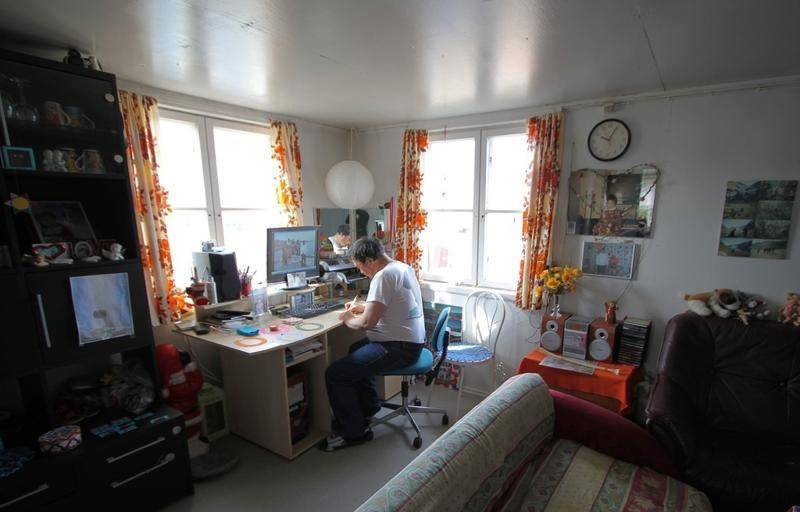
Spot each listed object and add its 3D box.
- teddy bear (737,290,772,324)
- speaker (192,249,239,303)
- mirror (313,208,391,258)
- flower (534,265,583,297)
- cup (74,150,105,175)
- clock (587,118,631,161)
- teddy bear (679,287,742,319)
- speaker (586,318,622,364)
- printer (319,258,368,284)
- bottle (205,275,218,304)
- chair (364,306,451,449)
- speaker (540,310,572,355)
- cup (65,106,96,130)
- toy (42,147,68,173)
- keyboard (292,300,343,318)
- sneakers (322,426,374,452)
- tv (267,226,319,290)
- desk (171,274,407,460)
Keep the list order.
[{"bbox_3d":[2.781,0.405,4.011,0.214,0.232,0.082,8,-12,8],"label":"teddy bear"},{"bbox_3d":[-1.584,0.171,4.325,0.430,0.389,0.201,4,11,21],"label":"speaker"},{"bbox_3d":[-0.507,-0.287,5.414,0.792,0.511,0.015,-6,28,-14],"label":"mirror"},{"bbox_3d":[1.391,0.199,4.544,0.304,0.205,0.293,-6,6,-37],"label":"flower"},{"bbox_3d":[-2.230,-0.688,3.662,0.134,0.191,0.204,10,10,39],"label":"cup"},{"bbox_3d":[1.832,-1.016,4.428,0.384,0.365,0.063,-6,0,35],"label":"clock"},{"bbox_3d":[2.520,0.382,4.088,0.321,0.189,0.214,-9,-9,41],"label":"teddy bear"},{"bbox_3d":[1.771,0.733,4.435,0.203,0.319,0.303,6,9,28],"label":"speaker"},{"bbox_3d":[-0.595,0.105,5.067,0.305,0.115,0.311,5,7,28],"label":"printer"},{"bbox_3d":[-1.597,0.288,4.318,0.093,0.230,0.065,-5,6,-22],"label":"bottle"},{"bbox_3d":[0.059,1.001,4.617,0.831,1.101,0.786,2,7,15],"label":"chair"},{"bbox_3d":[1.362,0.697,4.571,0.198,0.309,0.231,5,3,14],"label":"speaker"},{"bbox_3d":[-2.274,-0.978,3.617,0.162,0.132,0.114,-10,33,-27],"label":"cup"},{"bbox_3d":[-2.396,-0.678,3.539,0.178,0.163,0.131,-1,4,-3],"label":"toy"},{"bbox_3d":[-0.766,0.460,4.690,0.167,0.062,0.323,9,10,28],"label":"keyboard"},{"bbox_3d":[-0.439,1.583,4.402,0.460,0.170,0.159,2,4,-12],"label":"sneakers"},{"bbox_3d":[-1.011,0.002,4.721,0.596,0.491,0.060,-7,11,-42],"label":"tv"},{"bbox_3d":[-1.053,0.914,4.558,1.309,1.072,1.497,4,10,22],"label":"desk"}]
